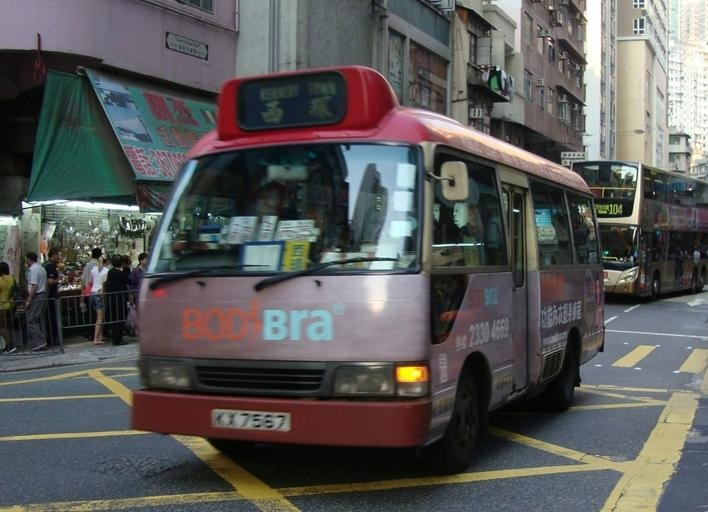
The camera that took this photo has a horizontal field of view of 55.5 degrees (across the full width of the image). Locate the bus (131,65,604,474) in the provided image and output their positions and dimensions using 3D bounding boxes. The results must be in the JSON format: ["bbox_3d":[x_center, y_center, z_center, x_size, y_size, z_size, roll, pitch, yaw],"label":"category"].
[{"bbox_3d":[0.580,0.237,7.326,2.543,2.651,5.171,-3,-6,28],"label":"bus"}]

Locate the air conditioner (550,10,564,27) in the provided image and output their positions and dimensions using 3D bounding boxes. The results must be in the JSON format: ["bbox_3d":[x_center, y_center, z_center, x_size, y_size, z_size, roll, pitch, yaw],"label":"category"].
[{"bbox_3d":[13.829,-16.277,45.797,0.440,1.085,2.407,-1,0,26],"label":"air conditioner"}]

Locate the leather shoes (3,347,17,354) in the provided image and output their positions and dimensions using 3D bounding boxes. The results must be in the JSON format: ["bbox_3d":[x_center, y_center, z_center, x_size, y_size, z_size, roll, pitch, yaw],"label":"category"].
[{"bbox_3d":[-6.628,1.854,13.117,0.130,0.142,0.347,2,-5,-35],"label":"leather shoes"}]

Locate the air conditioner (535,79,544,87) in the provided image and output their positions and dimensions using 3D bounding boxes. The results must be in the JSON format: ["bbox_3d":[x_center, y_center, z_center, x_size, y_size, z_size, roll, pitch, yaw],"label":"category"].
[{"bbox_3d":[11.413,-10.699,41.590,0.430,0.545,0.810,4,1,20],"label":"air conditioner"}]
